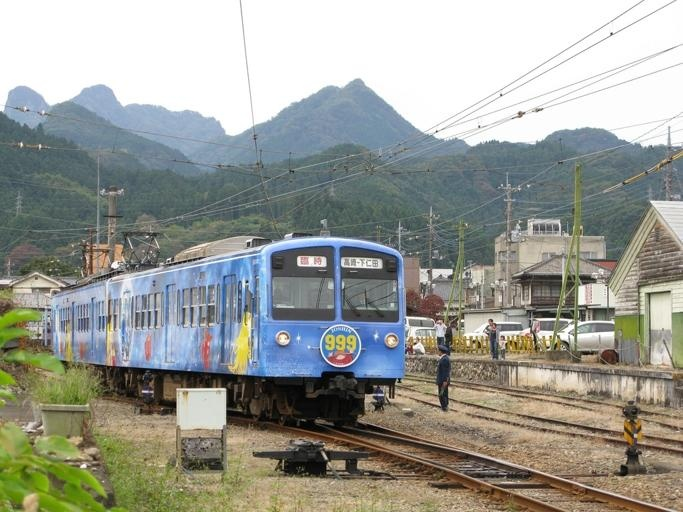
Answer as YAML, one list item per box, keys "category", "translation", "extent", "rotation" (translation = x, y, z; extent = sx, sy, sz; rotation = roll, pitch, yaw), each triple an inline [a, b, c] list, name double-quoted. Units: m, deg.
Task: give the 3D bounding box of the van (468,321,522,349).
- category: "van"
  translation: [7.332, 3.625, 43.253]
  extent: [2.419, 1.280, 1.531]
  rotation: [3, -1, -1]

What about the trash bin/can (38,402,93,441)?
- category: "trash bin/can"
  translation: [-3.539, 2.097, 11.494]
  extent: [0.558, 0.428, 0.319]
  rotation: [2, -7, -22]

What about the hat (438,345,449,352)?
- category: "hat"
  translation: [2.194, 2.025, 19.672]
  extent: [0.226, 0.114, 0.275]
  rotation: [6, 3, -5]

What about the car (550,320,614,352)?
- category: "car"
  translation: [9.510, 3.156, 35.526]
  extent: [2.114, 1.092, 1.207]
  rotation: [3, -3, 13]
